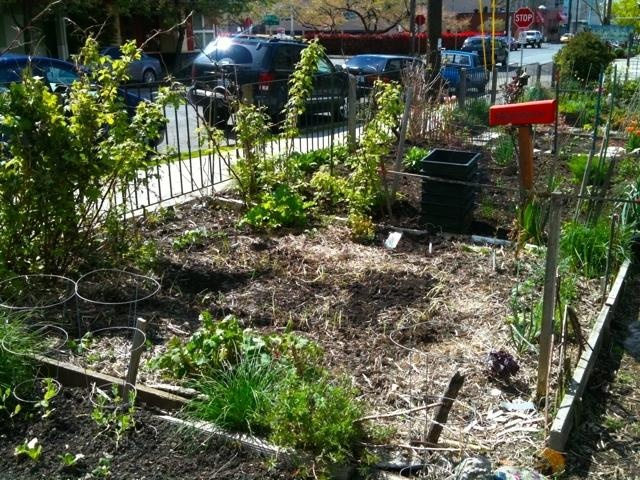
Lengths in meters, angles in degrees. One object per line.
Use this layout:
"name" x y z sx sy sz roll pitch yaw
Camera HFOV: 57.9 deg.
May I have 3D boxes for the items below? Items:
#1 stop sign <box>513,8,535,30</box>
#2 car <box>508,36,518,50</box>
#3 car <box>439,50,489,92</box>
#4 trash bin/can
"stop sign" 7.662 -8.354 21.750 0.647 0.688 1.401 4 18 16
"car" 16.343 -16.525 48.843 0.593 1.066 3.094 3 19 16
"car" 4.300 -5.407 18.306 0.921 0.978 2.226 4 39 12
"trash bin/can" 1.418 -0.634 6.503 0.625 0.851 0.639 21 47 31
